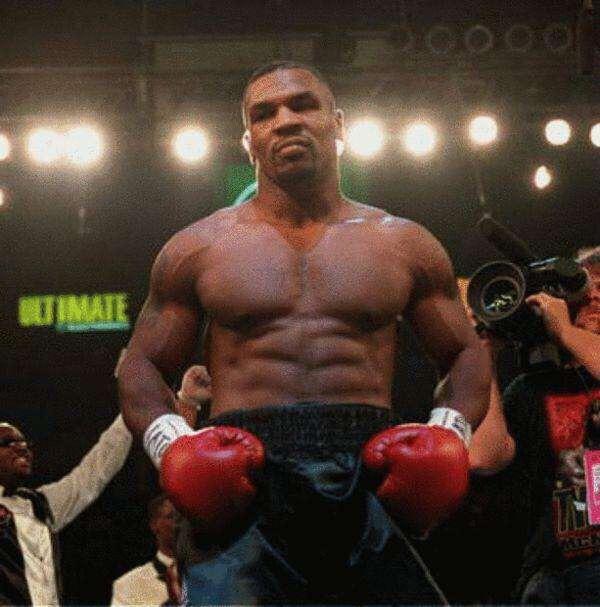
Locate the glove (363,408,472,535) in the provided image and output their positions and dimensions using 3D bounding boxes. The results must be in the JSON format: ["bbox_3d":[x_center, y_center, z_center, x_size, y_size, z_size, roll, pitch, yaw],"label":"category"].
[{"bbox_3d":[0.244,0.382,1.515,0.190,0.245,0.145,-7,-5,24],"label":"glove"}]

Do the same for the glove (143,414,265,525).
[{"bbox_3d":[-0.204,0.337,1.542,0.231,0.181,0.115,13,30,31],"label":"glove"}]

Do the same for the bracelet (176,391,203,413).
[{"bbox_3d":[-0.458,0.402,2.989,0.098,0.039,0.076,15,-11,37],"label":"bracelet"}]
